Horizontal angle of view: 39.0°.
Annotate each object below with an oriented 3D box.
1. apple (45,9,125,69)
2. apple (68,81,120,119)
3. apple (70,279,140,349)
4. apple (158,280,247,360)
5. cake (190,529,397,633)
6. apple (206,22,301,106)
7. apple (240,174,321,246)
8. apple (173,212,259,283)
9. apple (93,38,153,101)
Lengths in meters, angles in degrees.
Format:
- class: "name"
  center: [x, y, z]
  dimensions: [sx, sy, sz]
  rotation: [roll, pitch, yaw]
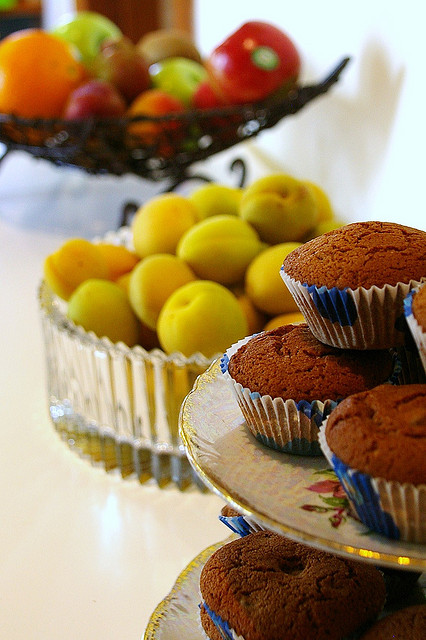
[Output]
- class: "apple"
  center: [-0.214, -0.491, 1.002]
  dimensions: [0.082, 0.047, 0.090]
  rotation: [-7, 2, 24]
- class: "apple"
  center: [-0.160, -0.294, 0.801]
  dimensions: [0.069, 0.047, 0.059]
  rotation: [-8, 20, -8]
- class: "apple"
  center: [-0.108, -0.003, 0.597]
  dimensions: [0.064, 0.072, 0.035]
  rotation: [-10, 22, -12]
- class: "apple"
  center: [-0.013, 0.000, 0.556]
  dimensions: [0.077, 0.065, 0.058]
  rotation: [-20, 25, -34]
- class: "cake"
  center: [0.043, 0.149, 0.331]
  dimensions: [0.108, 0.033, 0.066]
  rotation: [2, 21, 18]
- class: "apple"
  center: [0.050, -0.317, 0.752]
  dimensions: [0.123, 0.095, 0.066]
  rotation: [-15, 43, -7]
- class: "apple"
  center: [0.077, -0.120, 0.648]
  dimensions: [0.085, 0.072, 0.083]
  rotation: [-1, 3, 29]
- class: "apple"
  center: [0.003, -0.074, 0.620]
  dimensions: [0.072, 0.070, 0.095]
  rotation: [-3, 7, 34]
- class: "apple"
  center: [-0.133, -0.380, 0.957]
  dimensions: [0.102, 0.108, 0.095]
  rotation: [-3, -21, -7]
